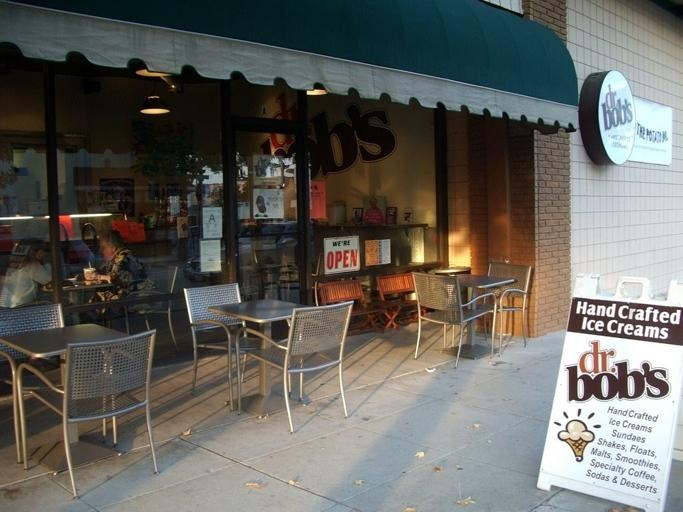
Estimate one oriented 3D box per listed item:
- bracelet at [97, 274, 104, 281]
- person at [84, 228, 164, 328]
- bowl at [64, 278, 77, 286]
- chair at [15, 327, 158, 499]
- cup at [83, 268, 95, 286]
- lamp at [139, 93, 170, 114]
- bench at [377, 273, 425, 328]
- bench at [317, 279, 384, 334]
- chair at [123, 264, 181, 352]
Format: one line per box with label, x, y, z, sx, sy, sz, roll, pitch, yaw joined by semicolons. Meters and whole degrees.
bracelet;-3.022;0.262;6.421;0.085;0.079;0.027;5;-13;-38
person;-2.940;0.236;6.727;0.792;1.053;0.573;-8;20;-26
bowl;-3.245;0.303;6.162;0.101;0.040;0.076;1;4;30
chair;-2.037;1.182;4.234;0.922;1.215;0.908;-6;8;-37
cup;-3.104;0.247;6.325;0.170;0.198;0.165;-1;2;0
lamp;-2.464;-1.981;6.778;0.284;0.171;0.279;-2;0;-43
bench;0.971;0.737;8.765;0.422;0.697;1.068;-1;1;44
bench;0.016;0.726;8.750;1.141;0.979;0.881;-1;0;-34
chair;-2.397;0.558;6.946;0.778;1.204;0.756;4;-3;-43
